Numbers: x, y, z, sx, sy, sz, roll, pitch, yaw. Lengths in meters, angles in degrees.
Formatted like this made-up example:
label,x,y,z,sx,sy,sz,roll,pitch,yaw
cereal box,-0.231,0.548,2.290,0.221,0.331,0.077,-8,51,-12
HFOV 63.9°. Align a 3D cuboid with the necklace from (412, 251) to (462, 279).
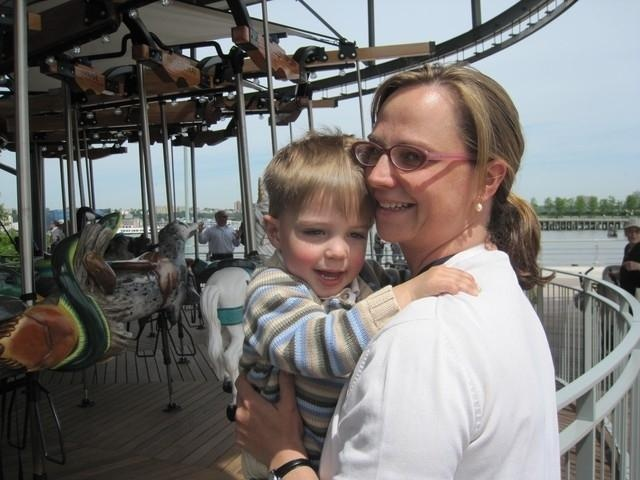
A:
label,x,y,z,sx,sy,sz,roll,pitch,yaw
necklace,0.420,0.099,1.869,0.109,0.020,0.059,-36,-4,23
